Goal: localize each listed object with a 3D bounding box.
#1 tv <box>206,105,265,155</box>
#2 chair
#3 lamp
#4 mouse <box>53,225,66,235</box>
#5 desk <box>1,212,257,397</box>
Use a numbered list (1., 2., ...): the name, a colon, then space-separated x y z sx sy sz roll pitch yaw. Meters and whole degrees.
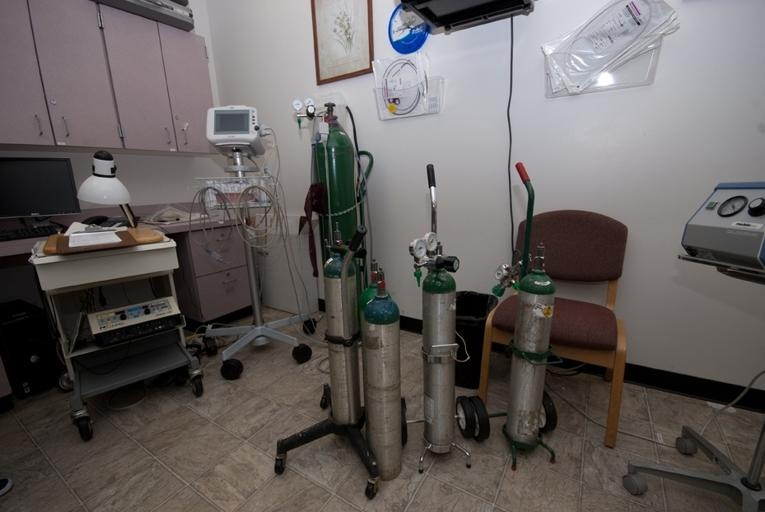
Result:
1. tv: -1.073 -0.922 3.562 0.350 0.261 0.353 0 -1 0
2. chair: 1.150 0.440 3.242 0.940 1.400 0.798 1 14 17
3. lamp: -1.846 -0.450 3.357 0.271 0.538 0.567 -6 14 -14
4. mouse: -2.313 -0.184 3.513 0.073 0.019 0.079 12 24 -6
5. desk: -1.878 0.366 3.562 0.418 0.882 1.204 4 15 29
